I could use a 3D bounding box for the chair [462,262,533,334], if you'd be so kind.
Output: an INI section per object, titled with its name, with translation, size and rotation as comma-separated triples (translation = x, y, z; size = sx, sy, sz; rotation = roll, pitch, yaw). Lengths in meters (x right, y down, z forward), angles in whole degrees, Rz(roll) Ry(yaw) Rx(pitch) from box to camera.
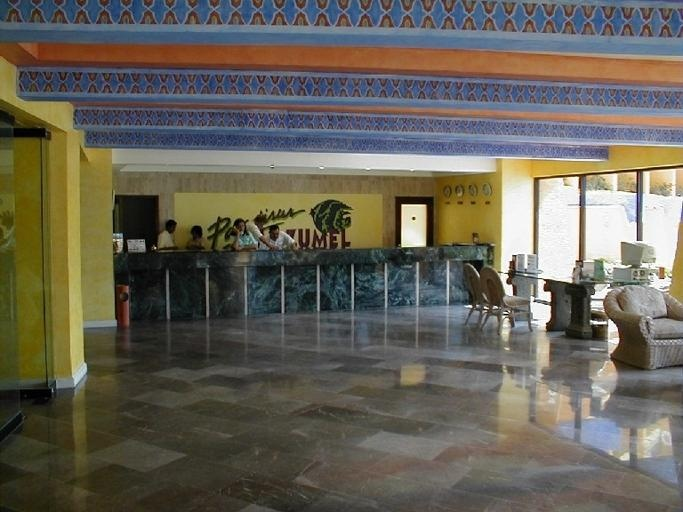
[chair]
translation = 2.792, 0.619, 10.594
size = 1.145, 1.497, 1.235
rotation = -3, 5, -27

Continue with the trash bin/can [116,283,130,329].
[trash bin/can]
translation = -4.158, 0.928, 10.913
size = 0.264, 0.734, 0.397
rotation = -3, 7, -21

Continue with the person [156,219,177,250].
[person]
translation = -3.991, -0.490, 13.080
size = 0.333, 1.055, 0.534
rotation = 3, 10, -7

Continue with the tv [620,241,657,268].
[tv]
translation = 5.288, 0.002, 10.234
size = 0.455, 0.374, 0.491
rotation = -4, 0, 13

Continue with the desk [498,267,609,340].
[desk]
translation = 4.021, 0.717, 11.413
size = 1.549, 0.984, 3.767
rotation = -1, 6, -8
